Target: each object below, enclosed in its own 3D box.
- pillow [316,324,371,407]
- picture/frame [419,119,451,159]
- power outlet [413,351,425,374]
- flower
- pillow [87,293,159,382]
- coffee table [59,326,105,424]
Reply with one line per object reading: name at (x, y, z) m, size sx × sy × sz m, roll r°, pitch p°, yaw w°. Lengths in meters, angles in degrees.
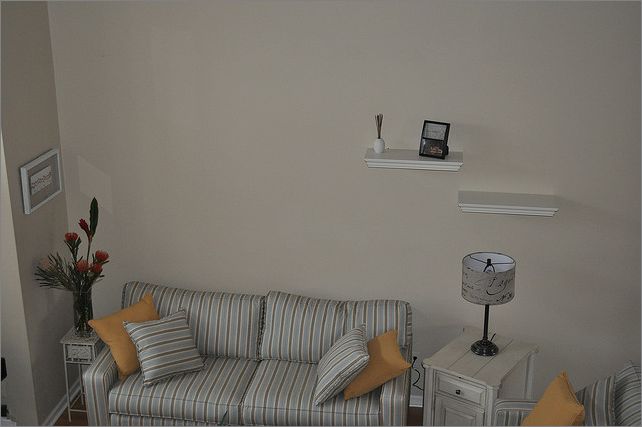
pillow at (0.162, 1.216, 4.503) m, size 0.402 × 0.606 × 0.341 m, roll 5°, pitch -5°, yaw 2°
picture/frame at (0.945, -0.608, 4.707) m, size 0.293 × 0.396 × 0.210 m, roll 7°, pitch 4°, yaw 15°
power outlet at (0.881, 1.361, 5.178) m, size 0.099 × 0.193 × 0.187 m, roll 4°, pitch -6°, yaw 12°
flower at (-2.172, 0.284, 5.121) m, size 0.565 × 0.616 × 0.589 m, roll 6°, pitch -6°, yaw -7°
pillow at (-1.651, 1.046, 4.764) m, size 0.169 × 0.561 × 0.559 m, roll -30°, pitch -2°, yaw 33°
coffee table at (-2.046, 1.369, 4.876) m, size 0.325 × 0.857 × 0.533 m, roll 0°, pitch 29°, yaw -6°
